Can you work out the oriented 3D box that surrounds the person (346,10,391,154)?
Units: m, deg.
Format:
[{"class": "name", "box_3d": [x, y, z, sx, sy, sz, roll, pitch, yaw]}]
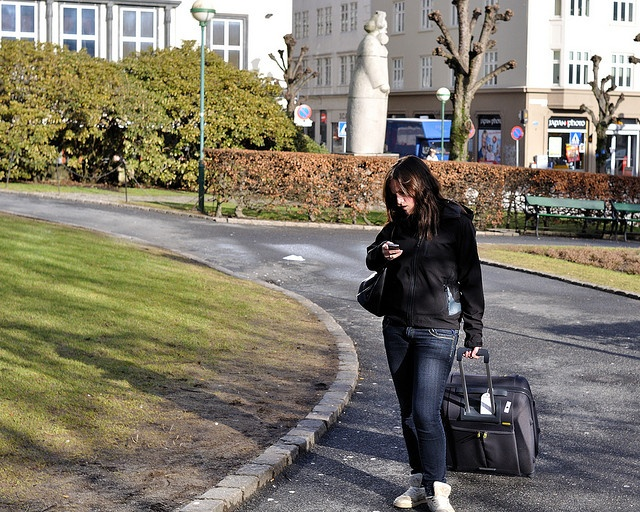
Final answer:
[{"class": "person", "box_3d": [1.360, -4.669, 30.166, 1.058, 3.864, 0.970, 5, 10, 0]}]

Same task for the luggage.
[{"class": "luggage", "box_3d": [1.527, 1.448, 9.901, 0.775, 0.811, 1.318, 2, -35, 15]}]

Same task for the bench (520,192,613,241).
[{"class": "bench", "box_3d": [6.231, -0.945, 27.473, 2.239, 1.011, 0.819, 2, 5, -17]}]

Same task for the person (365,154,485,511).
[{"class": "person", "box_3d": [0.865, 0.684, 9.331, 0.978, 2.927, 0.616, 8, 11, 17]}]
